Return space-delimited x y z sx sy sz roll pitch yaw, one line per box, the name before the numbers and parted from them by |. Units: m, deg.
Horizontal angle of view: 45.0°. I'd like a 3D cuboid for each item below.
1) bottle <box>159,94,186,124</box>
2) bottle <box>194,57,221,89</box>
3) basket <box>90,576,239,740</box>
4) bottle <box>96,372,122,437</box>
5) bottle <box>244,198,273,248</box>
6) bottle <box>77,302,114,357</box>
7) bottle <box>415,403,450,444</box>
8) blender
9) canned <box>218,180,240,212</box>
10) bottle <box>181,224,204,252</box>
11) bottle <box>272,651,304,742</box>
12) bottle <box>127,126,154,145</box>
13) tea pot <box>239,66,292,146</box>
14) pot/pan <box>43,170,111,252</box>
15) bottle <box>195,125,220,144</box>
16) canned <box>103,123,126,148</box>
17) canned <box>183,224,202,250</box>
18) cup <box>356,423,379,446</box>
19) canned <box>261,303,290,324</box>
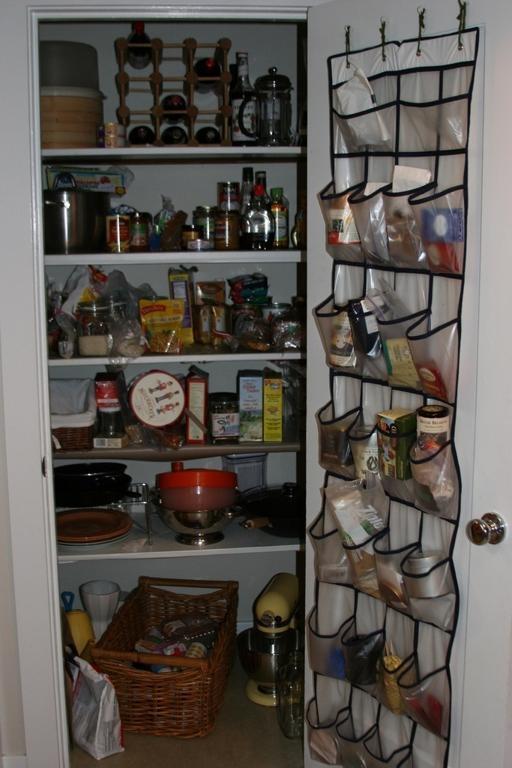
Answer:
bottle | -0.231 -0.771 1.715 0.069 0.071 0.168 -4 15 -7
bottle | -0.136 -0.857 1.708 0.038 0.041 0.121 15 11 -8
basket | -0.274 0.842 2.019 0.381 0.275 0.541 0 15 7
bottle | -0.451 0.060 1.873 0.081 0.156 0.184 -5 14 -13
bottle | 0.005 -0.450 1.732 0.076 0.141 0.072 -2 13 0
bottle | -0.470 -0.159 1.790 0.098 0.141 0.133 -5 14 -14
bottle | 0.277 0.060 0.965 0.051 0.052 0.052 2 15 16
blender | 0.062 0.840 2.063 0.178 0.342 0.293 3 0 16
canned | -0.079 -0.538 1.776 0.059 0.086 0.126 -3 14 -3
bottle | -0.178 -0.403 1.709 0.067 0.081 0.071 1 13 6
bottle | 0.099 0.900 1.804 0.075 0.271 0.162 -1 13 2
bottle | -0.318 -0.685 1.712 0.068 0.076 0.043 2 7 -3
tea pot | 0.032 -0.764 1.721 0.136 0.213 0.177 2 14 15
pot/pan | -0.513 -0.469 1.690 0.176 0.171 0.188 -10 16 -34
bottle | -0.135 -0.700 1.745 0.067 0.060 0.156 -2 15 -2
canned | -0.373 -0.648 1.621 0.059 0.069 0.063 -2 18 -13
canned | -0.177 -0.406 1.707 0.060 0.072 0.062 6 14 28
cup | 0.201 0.088 1.138 0.036 0.029 0.057 -1 15 4
canned | 0.069 -0.232 1.873 0.066 0.066 0.067 2 27 3
